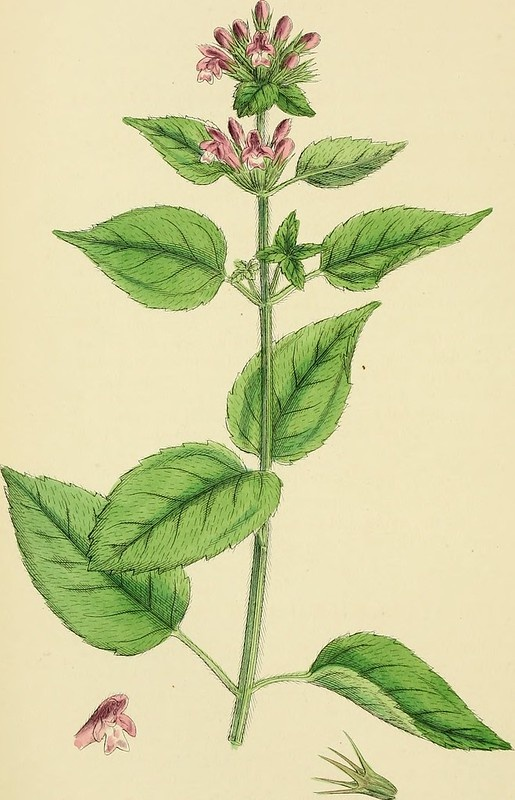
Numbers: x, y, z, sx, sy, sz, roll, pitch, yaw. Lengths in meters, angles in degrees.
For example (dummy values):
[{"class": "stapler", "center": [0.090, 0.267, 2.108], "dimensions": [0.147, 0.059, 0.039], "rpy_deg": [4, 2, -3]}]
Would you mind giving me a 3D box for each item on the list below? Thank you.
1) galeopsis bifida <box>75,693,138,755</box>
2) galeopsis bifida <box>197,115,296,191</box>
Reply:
[{"class": "galeopsis bifida", "center": [-0.247, 0.548, 1.287], "dimensions": [0.098, 0.030, 0.100], "rpy_deg": [40, -81, -8]}, {"class": "galeopsis bifida", "center": [-0.014, -0.383, 1.187], "dimensions": [0.119, 0.059, 0.117], "rpy_deg": [-9, -86, -9]}]
